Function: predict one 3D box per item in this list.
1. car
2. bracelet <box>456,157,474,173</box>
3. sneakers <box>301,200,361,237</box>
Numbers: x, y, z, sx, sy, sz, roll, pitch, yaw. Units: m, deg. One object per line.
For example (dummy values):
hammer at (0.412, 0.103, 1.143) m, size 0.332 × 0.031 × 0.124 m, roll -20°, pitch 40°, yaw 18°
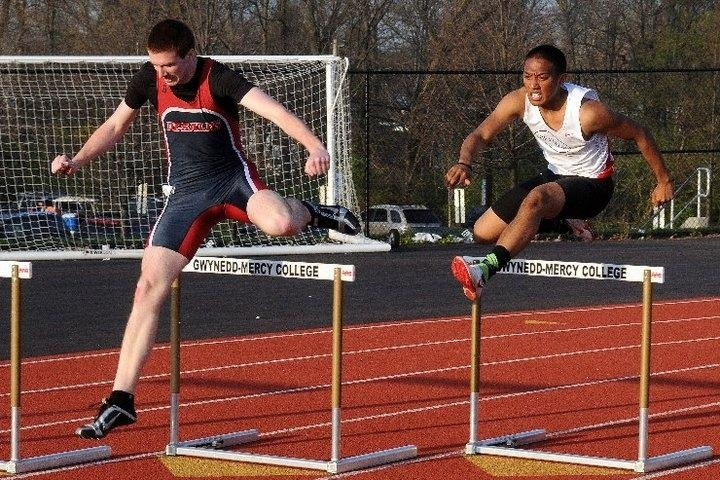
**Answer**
car at (1.241, -0.359, 20.977) m, size 0.995 × 0.701 × 1.578 m, roll -3°, pitch 13°, yaw -22°
bracelet at (0.876, -0.647, 7.365) m, size 0.137 × 0.035 × 0.127 m, roll -1°, pitch 26°, yaw -35°
sneakers at (-0.207, -0.154, 6.737) m, size 0.518 × 0.193 × 0.190 m, roll 11°, pitch -45°, yaw -30°
